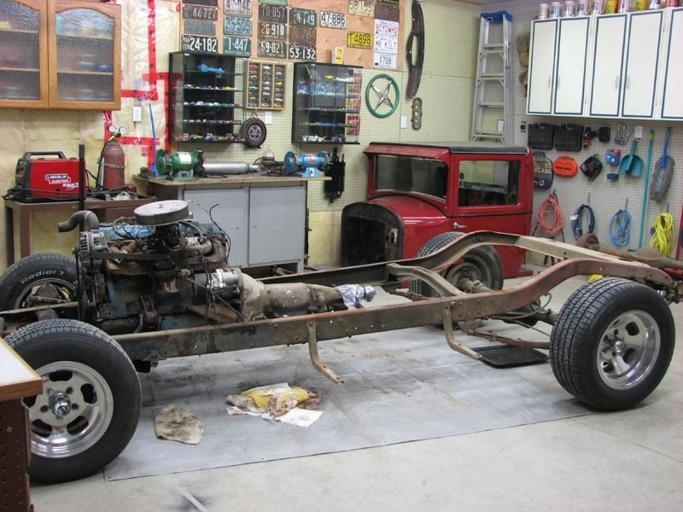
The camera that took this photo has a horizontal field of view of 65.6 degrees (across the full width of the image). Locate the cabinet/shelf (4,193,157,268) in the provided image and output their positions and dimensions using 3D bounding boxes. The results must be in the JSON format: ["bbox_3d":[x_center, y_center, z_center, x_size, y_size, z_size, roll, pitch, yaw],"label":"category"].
[{"bbox_3d":[-2.820,-0.230,5.647,1.269,0.813,0.930,-7,17,-33],"label":"cabinet/shelf"}]

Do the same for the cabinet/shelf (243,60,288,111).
[{"bbox_3d":[-0.911,-2.154,6.696,0.612,0.504,0.187,14,21,26],"label":"cabinet/shelf"}]

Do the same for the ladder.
[{"bbox_3d":[2.463,-2.862,8.503,0.430,2.020,0.778,-6,18,-30],"label":"ladder"}]

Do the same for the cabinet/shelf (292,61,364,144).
[{"bbox_3d":[-0.277,-2.046,7.254,0.414,1.095,1.263,16,23,37],"label":"cabinet/shelf"}]

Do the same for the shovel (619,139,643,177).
[{"bbox_3d":[4.023,-1.357,7.361,0.283,0.443,0.181,7,3,36],"label":"shovel"}]

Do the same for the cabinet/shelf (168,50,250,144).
[{"bbox_3d":[-1.618,-1.860,6.276,0.819,1.014,0.361,-2,16,-17],"label":"cabinet/shelf"}]

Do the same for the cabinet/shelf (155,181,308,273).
[{"bbox_3d":[-1.560,-0.368,6.684,1.106,1.227,2.133,12,13,38],"label":"cabinet/shelf"}]
